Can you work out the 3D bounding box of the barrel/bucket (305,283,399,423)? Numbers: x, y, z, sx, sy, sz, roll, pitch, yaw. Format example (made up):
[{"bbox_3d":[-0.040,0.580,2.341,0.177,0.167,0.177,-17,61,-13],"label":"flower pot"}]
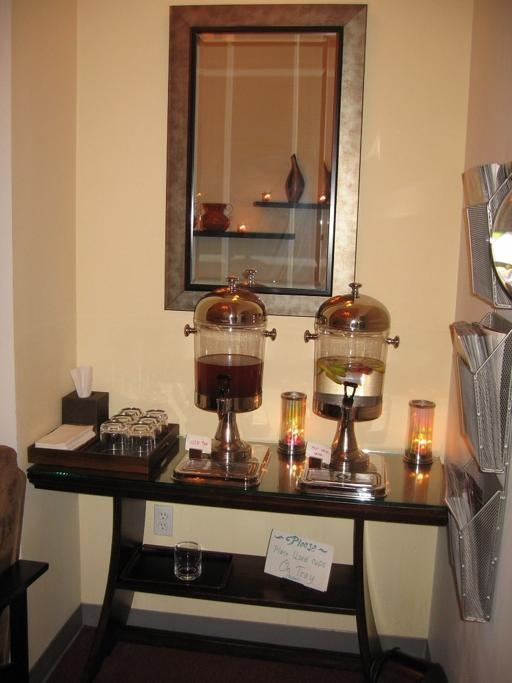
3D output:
[{"bbox_3d":[0.248,-0.011,1.612,0.290,0.422,0.380,4,18,11],"label":"barrel/bucket"}]

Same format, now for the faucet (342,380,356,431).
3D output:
[{"bbox_3d":[0.248,0.161,1.499,0.036,0.113,0.038,2,5,9],"label":"faucet"}]

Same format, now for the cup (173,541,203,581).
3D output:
[{"bbox_3d":[-0.199,0.652,1.665,0.091,0.107,0.096,0,-1,0],"label":"cup"}]

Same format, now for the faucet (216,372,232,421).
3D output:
[{"bbox_3d":[-0.083,0.149,1.510,0.044,0.126,0.055,3,5,19],"label":"faucet"}]
